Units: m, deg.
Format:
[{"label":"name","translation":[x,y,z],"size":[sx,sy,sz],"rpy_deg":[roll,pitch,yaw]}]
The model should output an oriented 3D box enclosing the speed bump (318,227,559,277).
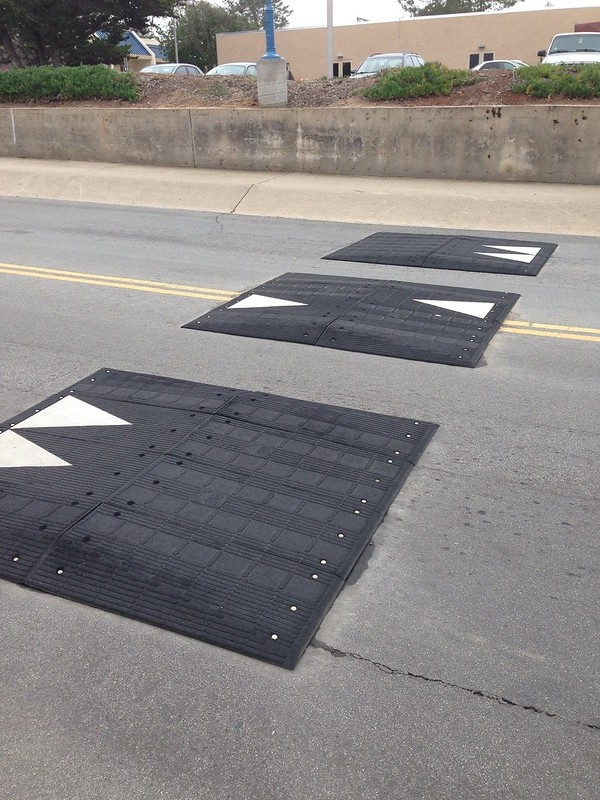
[{"label":"speed bump","translation":[2.420,-2.467,10.872],"size":[3.245,0.343,2.528],"rpy_deg":[6,22,22]}]
